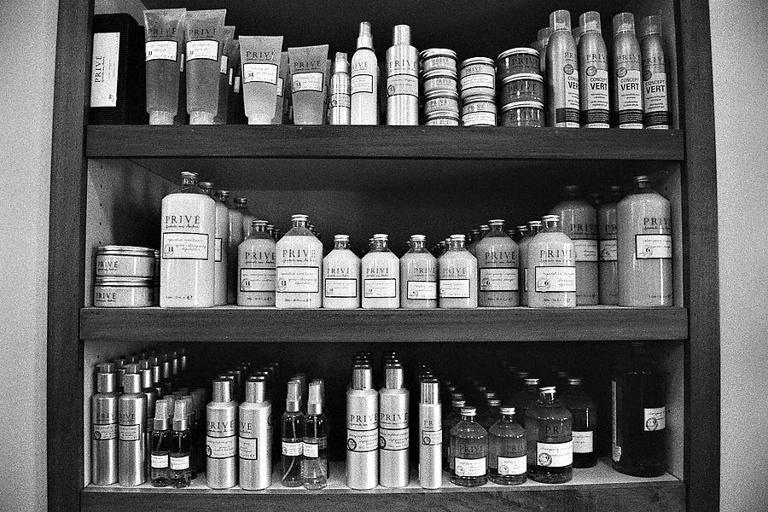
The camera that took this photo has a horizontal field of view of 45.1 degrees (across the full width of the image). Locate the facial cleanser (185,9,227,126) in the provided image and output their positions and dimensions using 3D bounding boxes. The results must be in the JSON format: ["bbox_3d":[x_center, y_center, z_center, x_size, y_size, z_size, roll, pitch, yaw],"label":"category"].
[{"bbox_3d":[-0.484,-0.512,2.560,0.140,0.284,0.116,1,0,-5],"label":"facial cleanser"}]

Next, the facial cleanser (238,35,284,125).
[{"bbox_3d":[-0.332,-0.480,2.578,0.146,0.222,0.112,3,-6,-4],"label":"facial cleanser"}]

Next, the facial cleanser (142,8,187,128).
[{"bbox_3d":[-0.597,-0.508,2.562,0.118,0.314,0.112,1,1,-9],"label":"facial cleanser"}]

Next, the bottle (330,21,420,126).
[{"bbox_3d":[-0.011,-0.469,2.541,0.238,0.283,0.174,1,-2,11],"label":"bottle"}]

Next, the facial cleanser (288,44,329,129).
[{"bbox_3d":[-0.195,-0.461,2.577,0.148,0.220,0.082,6,15,35],"label":"facial cleanser"}]
